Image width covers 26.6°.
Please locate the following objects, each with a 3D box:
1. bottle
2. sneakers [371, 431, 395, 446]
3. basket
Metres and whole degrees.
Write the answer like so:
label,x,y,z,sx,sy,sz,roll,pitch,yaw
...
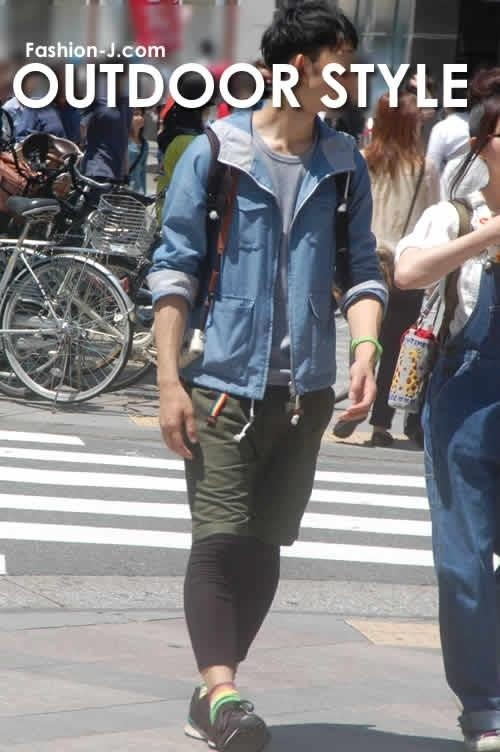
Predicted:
label,x,y,z,sx,sy,sz,roll,pitch,yaw
bottle,0.438,-0.018,2.882,0.090,0.246,0.202,3,6,-1
sneakers,0.872,0.422,6.990,0.080,0.055,0.154,3,-28,9
basket,-0.885,-1.148,7.506,0.467,0.533,0.786,3,15,0
